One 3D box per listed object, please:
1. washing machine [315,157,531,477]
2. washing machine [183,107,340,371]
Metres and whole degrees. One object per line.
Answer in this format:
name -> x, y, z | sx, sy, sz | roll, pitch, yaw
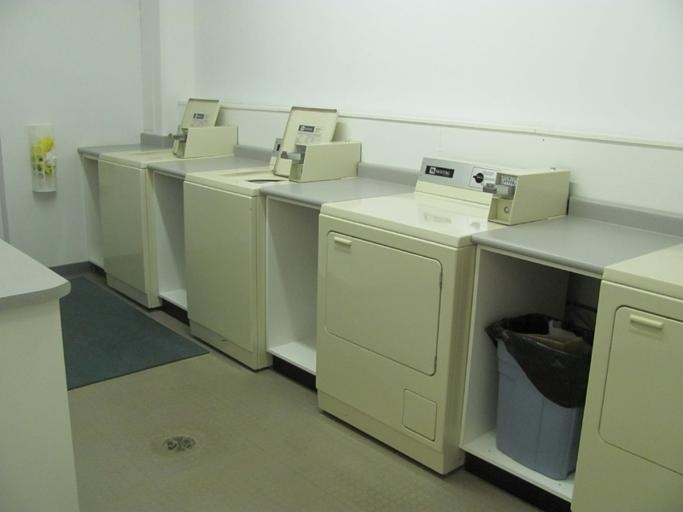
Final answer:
washing machine -> 0.386, 0.206, 2.552 | 0.677, 1.276, 0.759 | -15, 23, -43
washing machine -> -0.456, -0.146, 3.256 | 0.791, 1.439, 0.789 | -7, 17, -35
